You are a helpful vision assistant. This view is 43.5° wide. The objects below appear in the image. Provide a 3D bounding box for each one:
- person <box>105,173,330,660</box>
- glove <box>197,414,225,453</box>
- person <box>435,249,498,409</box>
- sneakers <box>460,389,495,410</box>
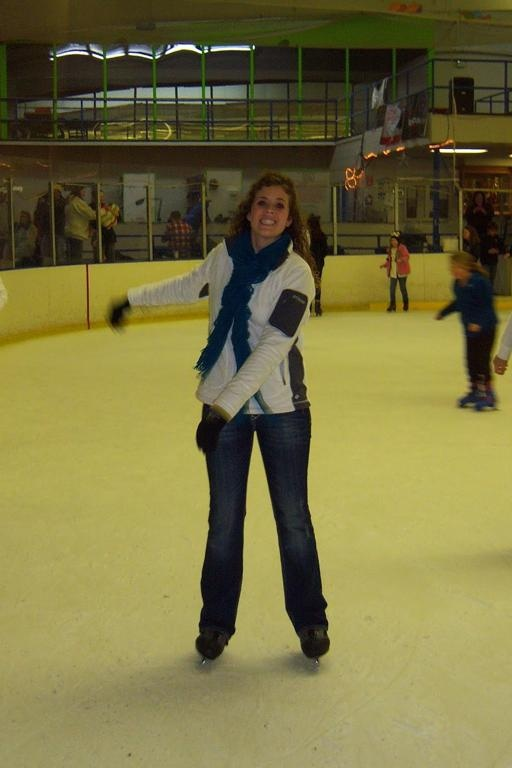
[{"bbox_3d":[-0.012,0.100,1.877,0.475,1.433,0.537,0,1,-29],"label":"person"},{"bbox_3d":[-0.103,0.124,1.620,0.036,0.100,0.071,22,-9,-28],"label":"glove"},{"bbox_3d":[2.223,-0.584,6.755,0.600,1.686,0.649,1,1,16],"label":"person"},{"bbox_3d":[2.254,0.161,6.517,0.189,0.149,0.330,-1,-5,8],"label":"sneakers"}]
